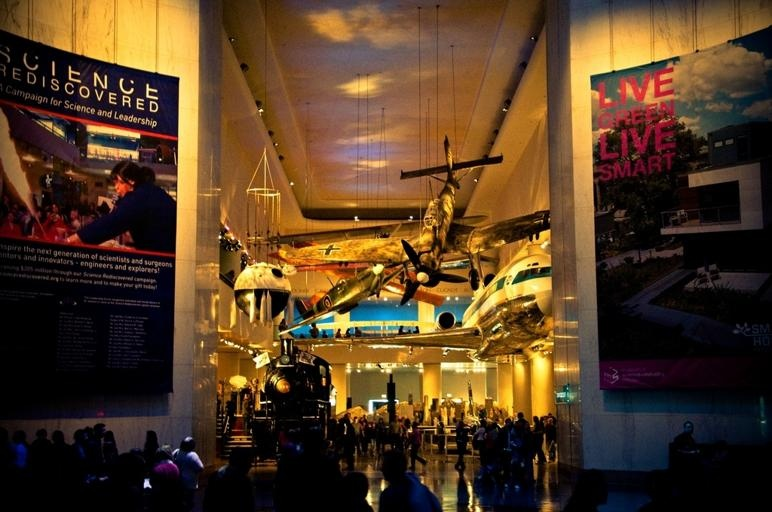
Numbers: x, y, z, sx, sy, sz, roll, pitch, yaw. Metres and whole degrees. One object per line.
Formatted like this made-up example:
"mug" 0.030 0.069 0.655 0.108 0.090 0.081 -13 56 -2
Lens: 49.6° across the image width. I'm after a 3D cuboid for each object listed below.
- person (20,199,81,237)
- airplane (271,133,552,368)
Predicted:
"person" -7.035 -0.702 17.500 0.785 0.305 0.697 -4 -37 -21
"airplane" 1.193 0.321 24.895 8.430 3.079 7.650 -9 12 13
